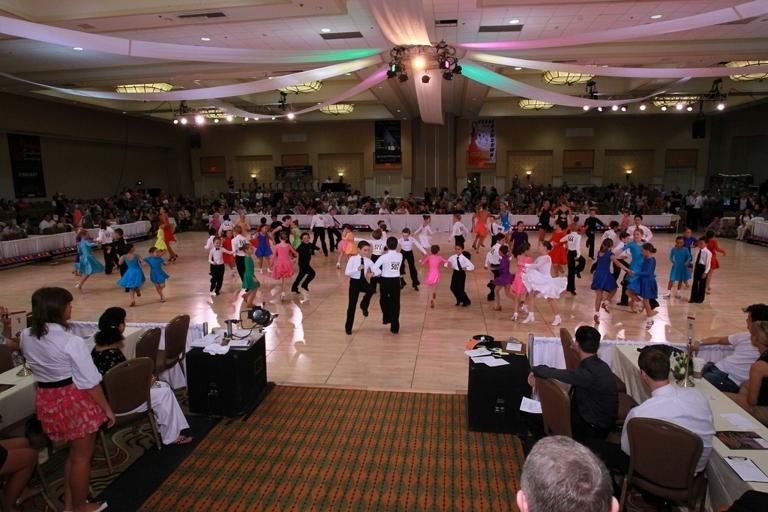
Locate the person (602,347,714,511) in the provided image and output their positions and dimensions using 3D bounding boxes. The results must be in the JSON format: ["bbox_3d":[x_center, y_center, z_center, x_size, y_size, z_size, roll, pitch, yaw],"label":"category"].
[{"bbox_3d":[3.069,1.819,5.299,0.982,1.668,0.977,-13,16,-8],"label":"person"}]

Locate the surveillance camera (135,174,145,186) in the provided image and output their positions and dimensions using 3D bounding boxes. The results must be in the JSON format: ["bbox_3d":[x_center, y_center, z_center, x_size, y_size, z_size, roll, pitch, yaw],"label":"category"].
[{"bbox_3d":[-13.832,-4.276,27.093,0.301,0.588,0.615,-1,7,17],"label":"surveillance camera"}]

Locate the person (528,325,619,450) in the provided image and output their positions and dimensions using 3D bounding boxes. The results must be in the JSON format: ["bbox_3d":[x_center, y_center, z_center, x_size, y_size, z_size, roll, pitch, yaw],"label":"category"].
[{"bbox_3d":[2.377,1.744,6.098,1.033,1.750,1.228,4,4,21],"label":"person"}]

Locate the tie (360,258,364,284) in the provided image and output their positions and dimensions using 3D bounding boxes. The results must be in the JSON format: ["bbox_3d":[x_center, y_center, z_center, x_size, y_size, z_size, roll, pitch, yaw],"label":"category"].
[{"bbox_3d":[-0.405,0.267,8.852,0.100,0.486,0.165,-2,10,-2],"label":"tie"}]

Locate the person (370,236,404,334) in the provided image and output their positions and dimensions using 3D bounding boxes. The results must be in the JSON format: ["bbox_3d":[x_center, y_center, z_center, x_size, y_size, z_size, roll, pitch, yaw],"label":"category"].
[{"bbox_3d":[0.076,0.549,9.163,0.499,1.835,0.664,-1,10,2],"label":"person"}]

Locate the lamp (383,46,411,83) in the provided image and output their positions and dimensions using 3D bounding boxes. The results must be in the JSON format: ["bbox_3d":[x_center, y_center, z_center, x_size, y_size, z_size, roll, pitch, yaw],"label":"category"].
[{"bbox_3d":[0.294,-4.495,11.216,0.497,0.736,0.765,-1,10,0],"label":"lamp"}]

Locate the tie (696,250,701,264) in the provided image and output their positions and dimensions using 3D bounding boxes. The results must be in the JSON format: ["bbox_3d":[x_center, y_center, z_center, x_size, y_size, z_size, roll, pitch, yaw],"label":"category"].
[{"bbox_3d":[7.003,0.002,10.701,0.097,0.221,0.211,4,11,29],"label":"tie"}]

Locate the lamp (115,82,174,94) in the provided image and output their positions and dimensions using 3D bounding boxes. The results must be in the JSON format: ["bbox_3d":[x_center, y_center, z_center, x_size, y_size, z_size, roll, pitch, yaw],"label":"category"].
[{"bbox_3d":[-8.479,-5.870,16.914,1.858,0.368,1.473,-3,10,-8],"label":"lamp"}]
